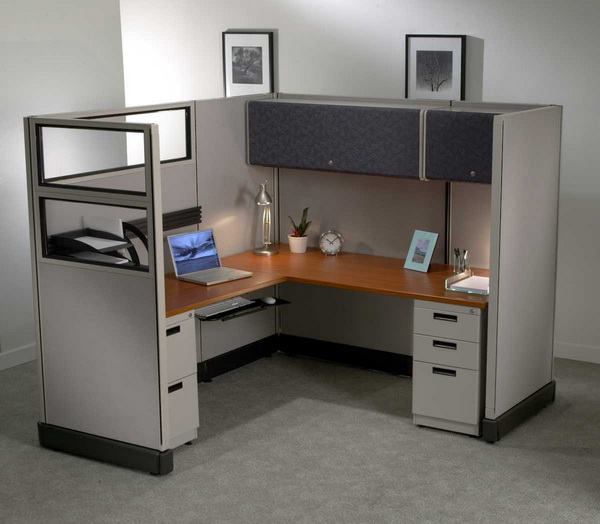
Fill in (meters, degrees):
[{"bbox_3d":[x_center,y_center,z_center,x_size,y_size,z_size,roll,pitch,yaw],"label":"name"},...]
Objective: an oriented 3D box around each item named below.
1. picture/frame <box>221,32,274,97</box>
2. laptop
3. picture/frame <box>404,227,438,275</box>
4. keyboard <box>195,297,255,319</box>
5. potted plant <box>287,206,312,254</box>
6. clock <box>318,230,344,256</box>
[{"bbox_3d":[-0.482,-1.843,5.293,0.555,0.544,0.088,9,17,30],"label":"picture/frame"},{"bbox_3d":[-0.579,-0.032,3.573,0.397,0.251,0.463,-13,20,-40],"label":"laptop"},{"bbox_3d":[0.793,-0.064,3.686,0.027,0.366,0.256,16,-4,-38],"label":"picture/frame"},{"bbox_3d":[-0.503,0.290,3.566,0.410,0.040,0.251,-15,22,-42],"label":"keyboard"},{"bbox_3d":[-0.059,-0.281,4.305,0.250,0.423,0.388,0,6,-5],"label":"potted plant"},{"bbox_3d":[0.225,-0.137,4.103,0.176,0.159,0.155,1,15,3],"label":"clock"}]
